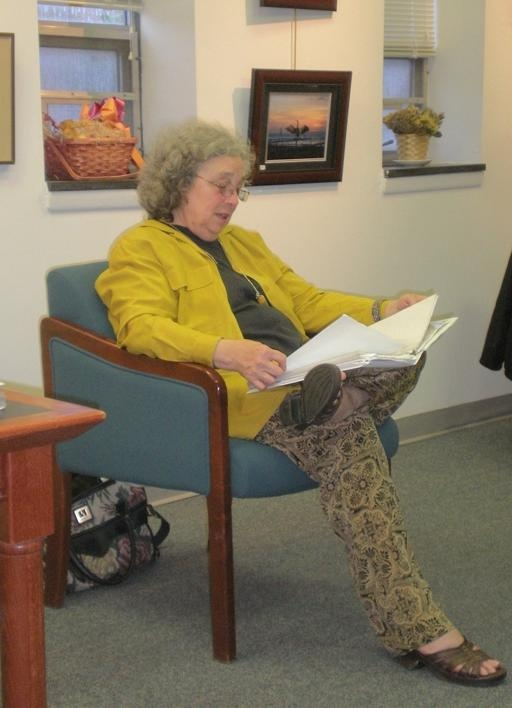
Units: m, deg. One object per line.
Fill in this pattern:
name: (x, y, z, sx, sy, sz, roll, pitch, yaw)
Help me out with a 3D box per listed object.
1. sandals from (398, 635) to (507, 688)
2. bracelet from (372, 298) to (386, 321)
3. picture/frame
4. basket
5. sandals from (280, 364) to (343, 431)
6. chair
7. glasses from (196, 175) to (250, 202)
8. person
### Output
sandals: (0.388, 0.591, 1.289, 0.191, 0.051, 0.080, 0, 9, 31)
bracelet: (0.329, -0.117, 1.754, 0.021, 0.050, 0.039, 4, 5, 12)
picture/frame: (0.158, -0.811, 2.371, 0.455, 0.365, 0.022, -17, 31, -37)
basket: (-0.495, -0.580, 1.986, 0.209, 0.085, 0.156, -10, 17, -34)
sandals: (0.110, 0.081, 1.233, 0.102, 0.056, 0.144, -40, -1, -41)
chair: (-0.129, 0.115, 1.710, 0.843, 0.924, 0.744, 8, 12, 40)
glasses: (-0.093, -0.420, 1.636, 0.090, 0.026, 0.087, 29, 18, 32)
person: (0.216, -0.065, 2.013, 1.398, 1.426, 0.861, 2, 10, 32)
